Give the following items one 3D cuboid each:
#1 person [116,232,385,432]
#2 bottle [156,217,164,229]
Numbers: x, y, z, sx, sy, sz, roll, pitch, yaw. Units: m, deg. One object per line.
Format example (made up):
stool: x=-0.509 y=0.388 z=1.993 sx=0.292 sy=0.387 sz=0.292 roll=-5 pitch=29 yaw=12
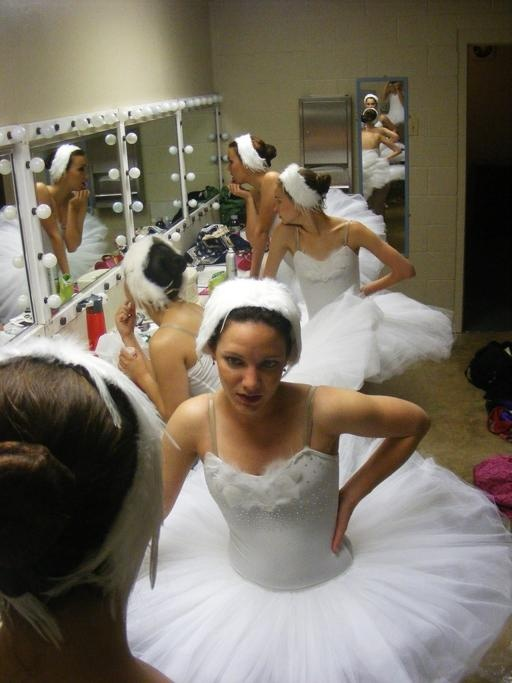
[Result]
person: x=0.006 y=-0.276 z=2.487 sx=0.733 sy=1.349 sz=0.549 roll=19 pitch=36 yaw=24
bottle: x=-0.769 y=-0.946 z=4.152 sx=0.050 sy=0.076 sz=0.070 roll=-3 pitch=7 yaw=-10
